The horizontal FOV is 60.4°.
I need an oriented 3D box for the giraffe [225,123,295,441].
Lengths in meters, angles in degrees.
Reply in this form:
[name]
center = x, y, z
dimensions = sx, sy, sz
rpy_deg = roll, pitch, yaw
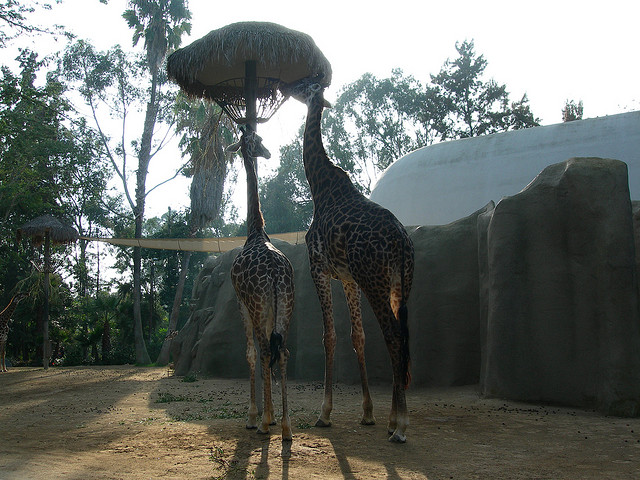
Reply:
[giraffe]
center = -0.954, 0.485, 8.876
dimensions = 0.924, 5.036, 1.693
rpy_deg = 1, -5, -18
